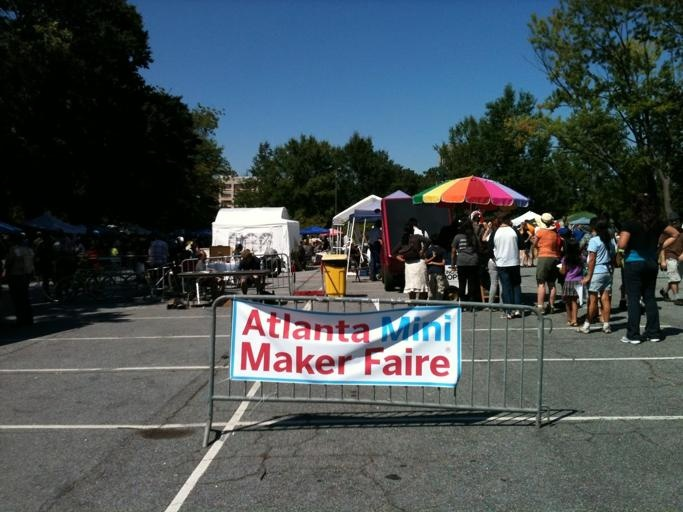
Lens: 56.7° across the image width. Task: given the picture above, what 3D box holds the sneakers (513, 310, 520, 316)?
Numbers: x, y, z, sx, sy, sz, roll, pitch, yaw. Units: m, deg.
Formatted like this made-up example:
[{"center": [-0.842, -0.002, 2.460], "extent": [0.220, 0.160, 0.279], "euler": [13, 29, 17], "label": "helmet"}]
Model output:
[{"center": [3.549, 1.163, 12.788], "extent": [0.208, 0.109, 0.311], "euler": [-3, -2, 19], "label": "sneakers"}]

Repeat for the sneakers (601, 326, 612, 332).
[{"center": [4.674, 1.300, 11.116], "extent": [0.074, 0.086, 0.186], "euler": [-2, -19, 10], "label": "sneakers"}]

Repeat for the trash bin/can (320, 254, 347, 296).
[{"center": [-0.217, 0.568, 16.811], "extent": [0.826, 1.073, 0.869], "euler": [-1, -4, -27], "label": "trash bin/can"}]

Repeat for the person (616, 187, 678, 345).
[{"center": [4.807, 0.206, 10.148], "extent": [0.716, 2.507, 0.429], "euler": [0, 0, 7], "label": "person"}]
